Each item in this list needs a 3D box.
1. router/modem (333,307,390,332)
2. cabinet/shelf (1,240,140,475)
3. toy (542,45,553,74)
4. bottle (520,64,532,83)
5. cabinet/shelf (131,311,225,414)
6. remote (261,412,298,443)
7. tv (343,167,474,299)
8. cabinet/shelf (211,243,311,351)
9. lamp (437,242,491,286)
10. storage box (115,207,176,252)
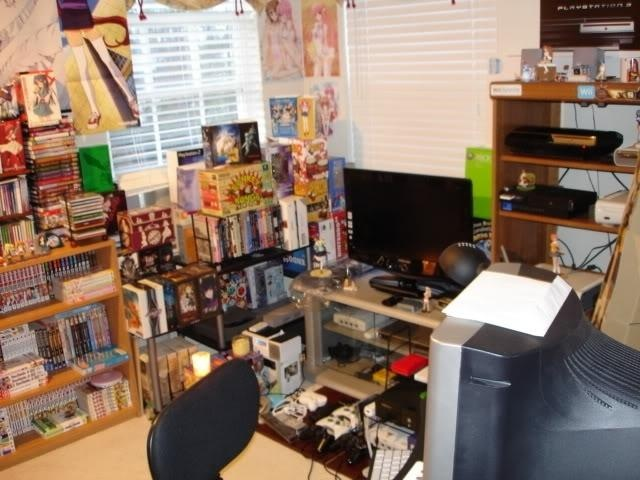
[{"bbox_3d":[0.269,0.545,3.479,0.206,0.051,0.202,12,16,41],"label":"router/modem"},{"bbox_3d":[-1.566,0.730,3.128,0.997,1.209,0.365,-18,19,-37],"label":"cabinet/shelf"},{"bbox_3d":[1.223,-0.959,2.722,0.048,0.136,0.112,-5,10,25],"label":"toy"},{"bbox_3d":[1.128,-0.900,2.765,0.084,0.082,0.020,18,15,40],"label":"bottle"},{"bbox_3d":[-1.055,0.864,3.527,0.477,0.396,0.503,7,21,22],"label":"cabinet/shelf"},{"bbox_3d":[-0.249,1.131,3.079,0.102,0.050,0.192,-28,41,-23],"label":"remote"},{"bbox_3d":[0.540,-0.045,3.137,0.740,0.620,0.220,11,21,37],"label":"tv"},{"bbox_3d":[-0.379,0.414,3.901,0.776,0.534,0.430,-15,16,-25],"label":"cabinet/shelf"},{"bbox_3d":[0.306,0.039,1.060,0.062,0.068,0.089,-2,45,-22],"label":"lamp"},{"bbox_3d":[-1.181,-0.073,3.461,0.197,0.234,0.345,7,16,34],"label":"storage box"}]
